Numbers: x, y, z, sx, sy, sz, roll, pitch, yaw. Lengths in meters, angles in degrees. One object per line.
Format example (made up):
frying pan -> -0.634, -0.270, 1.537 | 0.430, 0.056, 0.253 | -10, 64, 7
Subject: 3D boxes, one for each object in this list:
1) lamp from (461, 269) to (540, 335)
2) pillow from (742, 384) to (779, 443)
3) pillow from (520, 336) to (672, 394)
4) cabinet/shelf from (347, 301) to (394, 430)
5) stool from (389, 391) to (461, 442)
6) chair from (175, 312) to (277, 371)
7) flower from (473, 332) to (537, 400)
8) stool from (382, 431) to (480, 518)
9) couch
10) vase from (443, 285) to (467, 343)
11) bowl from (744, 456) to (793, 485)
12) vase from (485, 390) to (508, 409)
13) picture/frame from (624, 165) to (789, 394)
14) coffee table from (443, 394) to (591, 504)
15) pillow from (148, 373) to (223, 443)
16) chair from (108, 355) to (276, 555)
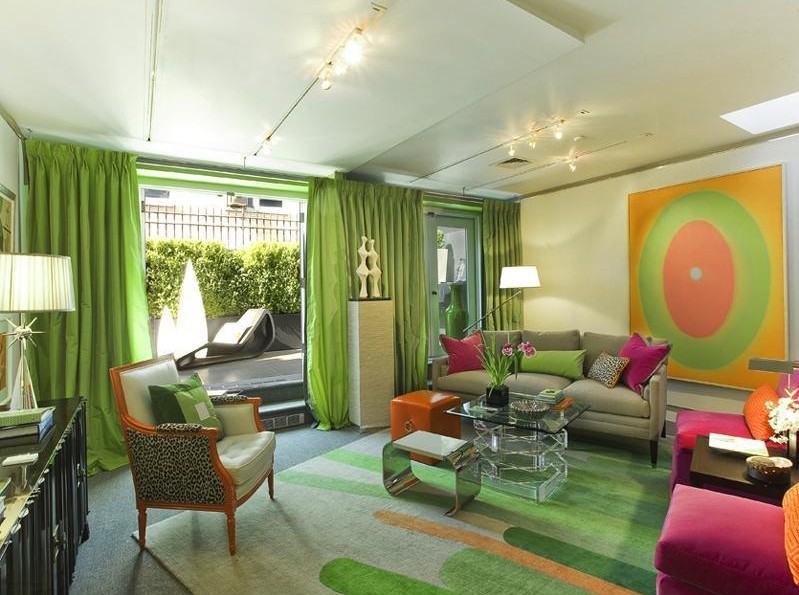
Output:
lamp -> 1.315, 0.107, 6.632 | 0.934, 0.823, 0.360 | -3, -11, -1
pillow -> 2.518, 0.810, 3.652 | 0.097, 0.311, 0.326 | 19, -7, 8
pillow -> 1.994, 0.607, 4.710 | 0.842, 0.289, 0.632 | -7, 6, -18
cabinet/shelf -> -0.340, 0.664, 5.718 | 0.468, 1.329, 0.344 | -6, 10, -31
stool -> 0.231, 1.118, 4.757 | 0.619, 0.390, 0.578 | 3, -5, 0
chair -> -1.784, 0.464, 5.560 | 0.878, 0.323, 0.445 | 0, -1, -45
flower -> 1.003, 0.652, 5.026 | 0.588, 0.553, 0.552 | 4, -4, 2
stool -> 0.238, 1.289, 3.926 | 0.657, 0.413, 0.356 | 3, 6, 38
couch -> 1.425, 0.852, 5.284 | 2.173, 0.951, 0.913 | 1, 1, 32
vase -> 0.694, 0.255, 6.755 | 0.351, 0.793, 0.342 | 4, 9, 18
bowl -> 2.161, 0.995, 3.075 | 0.220, 0.091, 0.247 | 5, 12, 31
vase -> 0.832, 0.858, 4.495 | 0.180, 0.166, 0.171 | -3, -11, 25
picture/frame -> 3.127, -0.136, 5.514 | 0.036, 2.122, 1.667 | -1, 0, -28
coffee table -> 0.994, 1.147, 4.304 | 0.766, 0.471, 0.810 | -3, -3, 40
pillow -> -1.540, 0.825, 3.802 | 0.279, 0.471, 0.534 | -3, 0, 15
chair -> -1.426, 1.023, 3.817 | 0.974, 1.051, 0.940 | 2, 4, -4
